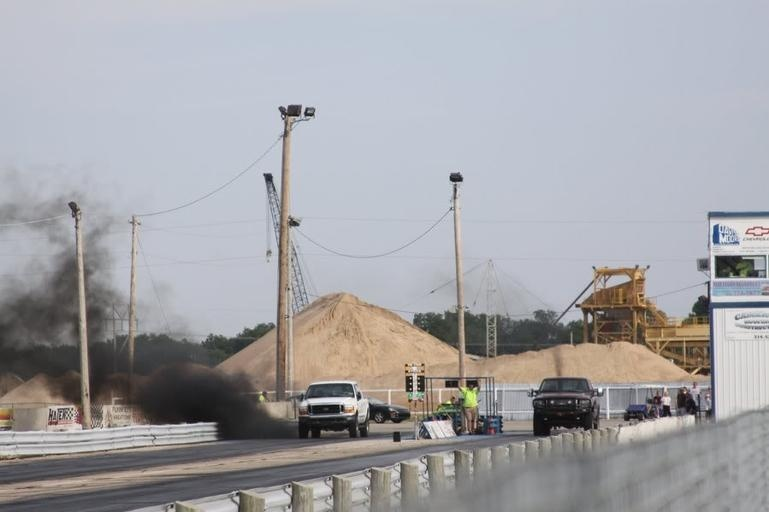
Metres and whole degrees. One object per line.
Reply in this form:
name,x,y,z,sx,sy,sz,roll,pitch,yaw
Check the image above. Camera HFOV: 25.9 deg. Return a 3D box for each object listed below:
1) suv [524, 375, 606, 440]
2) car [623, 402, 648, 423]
suv,10.353,8.239,95.870,3.815,3.354,2.208,-2,-10,3
car,16.196,9.628,107.343,1.615,1.012,1.459,-3,-10,8
